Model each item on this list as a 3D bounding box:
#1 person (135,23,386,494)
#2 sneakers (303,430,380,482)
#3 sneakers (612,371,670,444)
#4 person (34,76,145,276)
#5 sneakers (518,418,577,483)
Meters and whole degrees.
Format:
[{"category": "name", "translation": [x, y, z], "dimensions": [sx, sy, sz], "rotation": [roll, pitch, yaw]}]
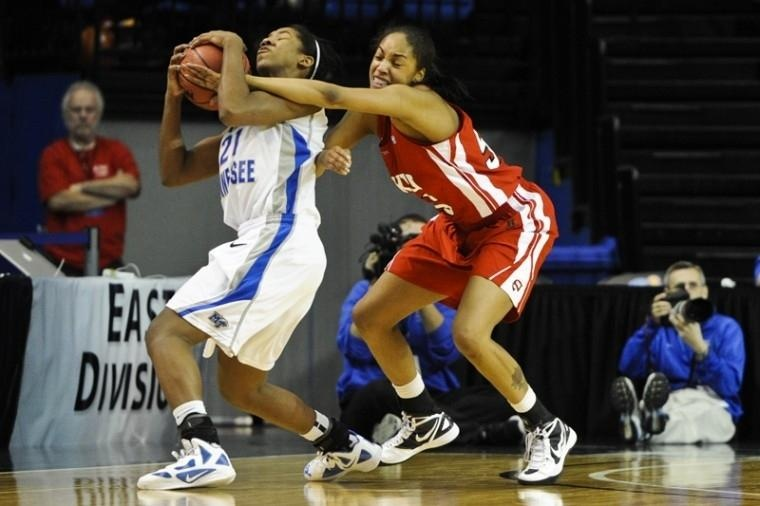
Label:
[{"category": "person", "translation": [-0.659, 0.005, 5.111], "dimensions": [1.051, 2.359, 0.474], "rotation": [1, -1, -3]}, {"category": "sneakers", "translation": [-0.184, 1.101, 5.340], "dimensions": [0.531, 0.163, 0.233], "rotation": [-11, -27, -5]}, {"category": "sneakers", "translation": [1.679, 1.004, 6.449], "dimensions": [0.221, 0.606, 0.289], "rotation": [-1, -12, 12]}, {"category": "person", "translation": [-2.223, -0.614, 7.700], "dimensions": [0.745, 1.549, 0.843], "rotation": [1, -1, -18]}, {"category": "sneakers", "translation": [0.858, 1.018, 5.185], "dimensions": [0.293, 0.311, 0.230], "rotation": [0, -1, 9]}]
